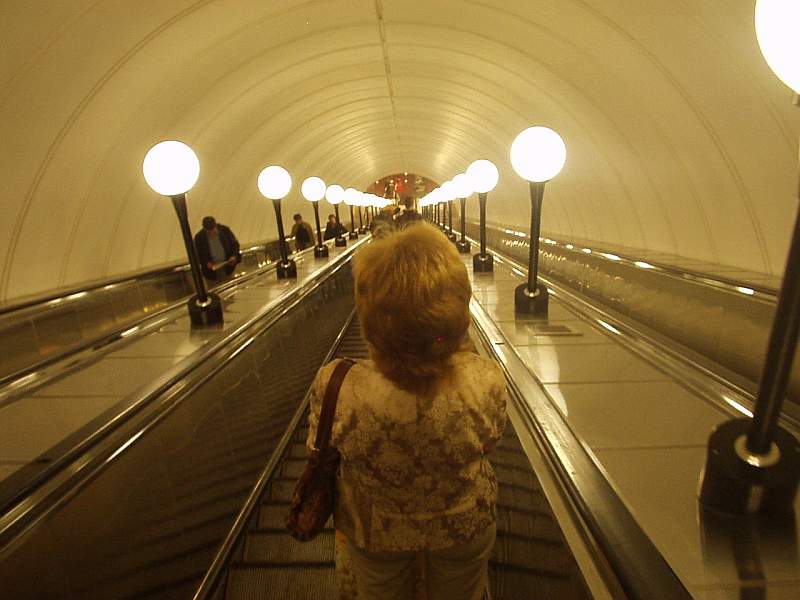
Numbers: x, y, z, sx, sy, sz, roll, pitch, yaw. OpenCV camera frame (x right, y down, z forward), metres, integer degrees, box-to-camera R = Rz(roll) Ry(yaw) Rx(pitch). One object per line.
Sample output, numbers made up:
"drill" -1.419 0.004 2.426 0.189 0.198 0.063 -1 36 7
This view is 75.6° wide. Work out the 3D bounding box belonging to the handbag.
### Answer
"handbag" -0.470 1.021 2.788 0.250 0.554 0.133 18 5 -7
